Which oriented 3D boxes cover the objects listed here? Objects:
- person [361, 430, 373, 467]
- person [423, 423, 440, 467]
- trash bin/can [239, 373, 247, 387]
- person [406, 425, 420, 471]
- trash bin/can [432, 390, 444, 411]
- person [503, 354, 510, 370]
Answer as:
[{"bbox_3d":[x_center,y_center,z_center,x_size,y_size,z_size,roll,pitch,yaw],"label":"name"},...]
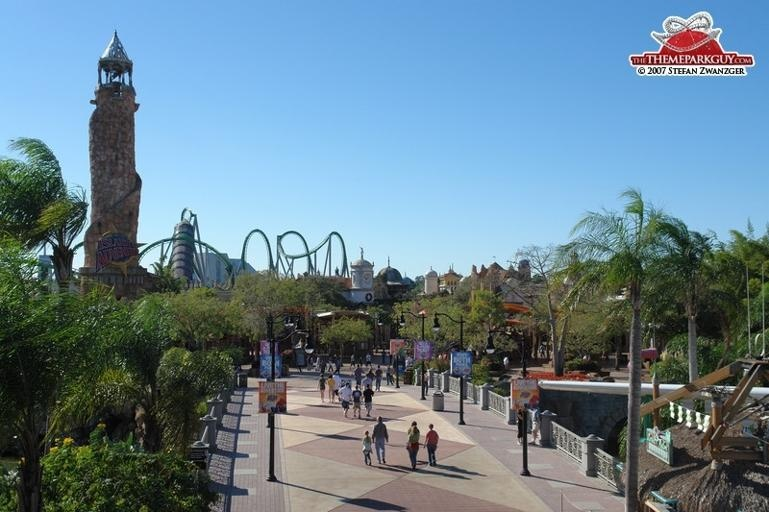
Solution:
[{"bbox_3d":[-0.734,8.280,32.029,0.357,1.418,1.076,2,-5,0],"label":"person"},{"bbox_3d":[2.031,8.219,32.407,0.479,1.657,1.295,2,-5,4],"label":"person"},{"bbox_3d":[-10.350,8.979,53.497,0.718,1.143,0.752,-1,6,-9],"label":"trash bin/can"},{"bbox_3d":[1.184,8.101,31.713,0.443,1.917,1.248,2,-5,1],"label":"person"},{"bbox_3d":[3.171,8.602,43.646,0.644,1.042,0.849,1,-5,6],"label":"trash bin/can"},{"bbox_3d":[11.005,9.654,66.963,0.539,0.809,1.611,-5,3,19],"label":"person"}]
